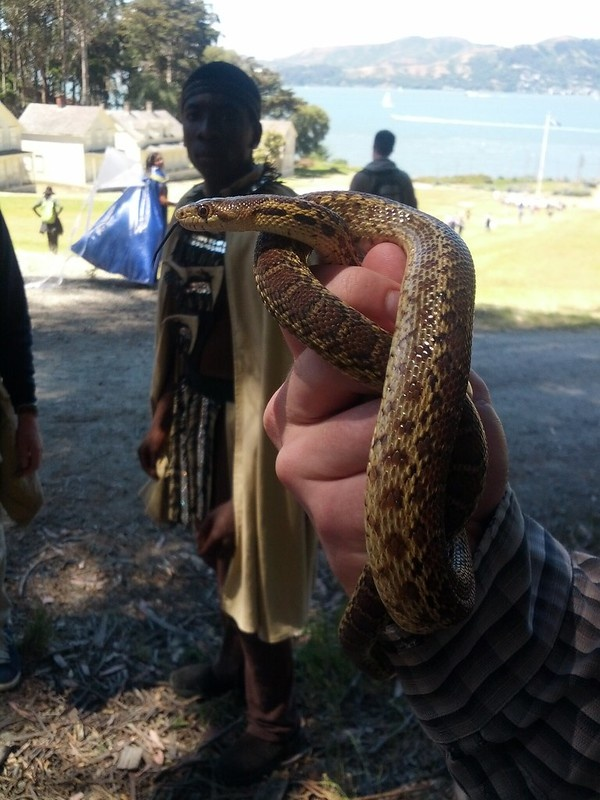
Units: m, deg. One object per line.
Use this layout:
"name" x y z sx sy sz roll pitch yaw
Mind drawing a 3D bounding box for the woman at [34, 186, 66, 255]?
"woman" -5.433 -3.886 14.928 0.519 1.301 1.373 -6 22 -18

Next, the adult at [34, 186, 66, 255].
"adult" -5.428 -3.882 14.916 0.519 1.301 1.346 -6 22 -18
